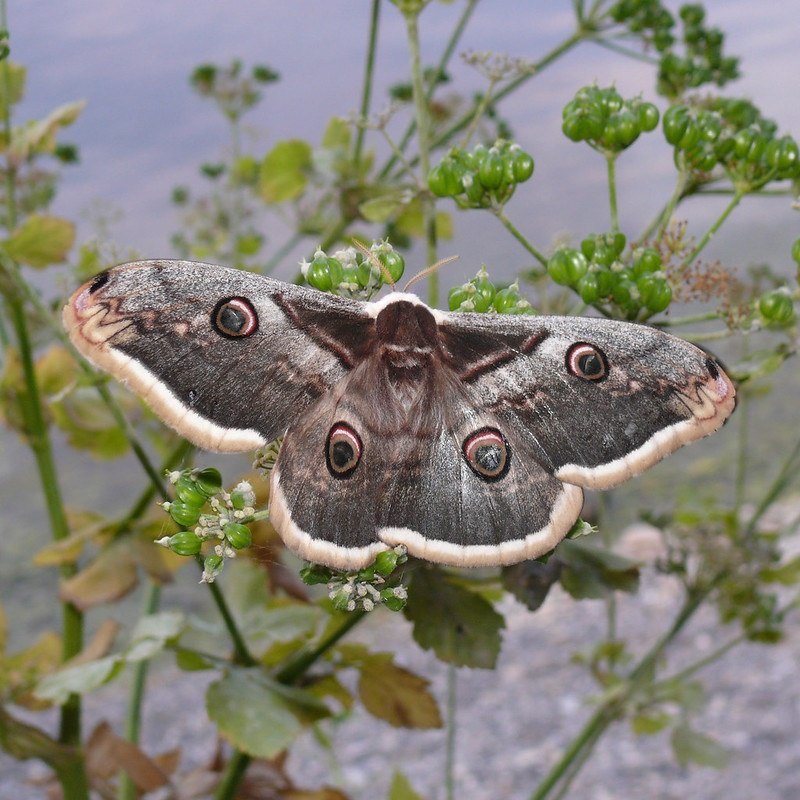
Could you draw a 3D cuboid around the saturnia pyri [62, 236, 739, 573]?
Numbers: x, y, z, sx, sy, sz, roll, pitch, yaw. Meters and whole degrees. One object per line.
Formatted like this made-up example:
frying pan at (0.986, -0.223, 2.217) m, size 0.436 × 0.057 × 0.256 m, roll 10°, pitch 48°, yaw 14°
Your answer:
saturnia pyri at (-0.006, 0.011, 0.867) m, size 0.579 × 0.227 × 0.043 m, roll 10°, pitch 4°, yaw 22°
